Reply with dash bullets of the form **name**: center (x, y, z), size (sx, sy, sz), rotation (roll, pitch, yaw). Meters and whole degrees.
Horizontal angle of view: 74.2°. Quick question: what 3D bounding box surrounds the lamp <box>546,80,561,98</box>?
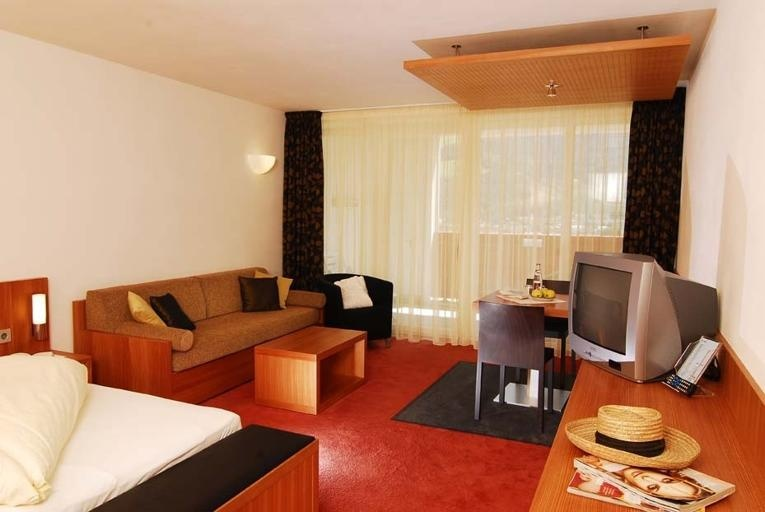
- **lamp**: center (1.715, -1.673, 5.085), size (0.117, 0.107, 0.115), rotation (-18, 23, -32)

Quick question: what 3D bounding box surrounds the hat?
- **hat**: center (1.138, 0.767, 2.292), size (0.357, 0.124, 0.331), rotation (-5, 1, 17)

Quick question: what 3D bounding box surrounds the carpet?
- **carpet**: center (1.126, 1.460, 5.088), size (1.534, 0.018, 1.775), rotation (2, 5, 32)

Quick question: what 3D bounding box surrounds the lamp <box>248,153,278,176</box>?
- **lamp**: center (-1.635, -1.225, 6.810), size (0.289, 0.190, 0.285), rotation (1, 0, -25)

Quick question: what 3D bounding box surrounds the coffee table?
- **coffee table**: center (-0.741, 1.162, 5.351), size (0.755, 0.582, 1.196), rotation (2, 3, 22)

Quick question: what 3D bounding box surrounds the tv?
- **tv**: center (1.681, 0.334, 3.418), size (0.792, 0.757, 0.779), rotation (-2, 2, -19)
